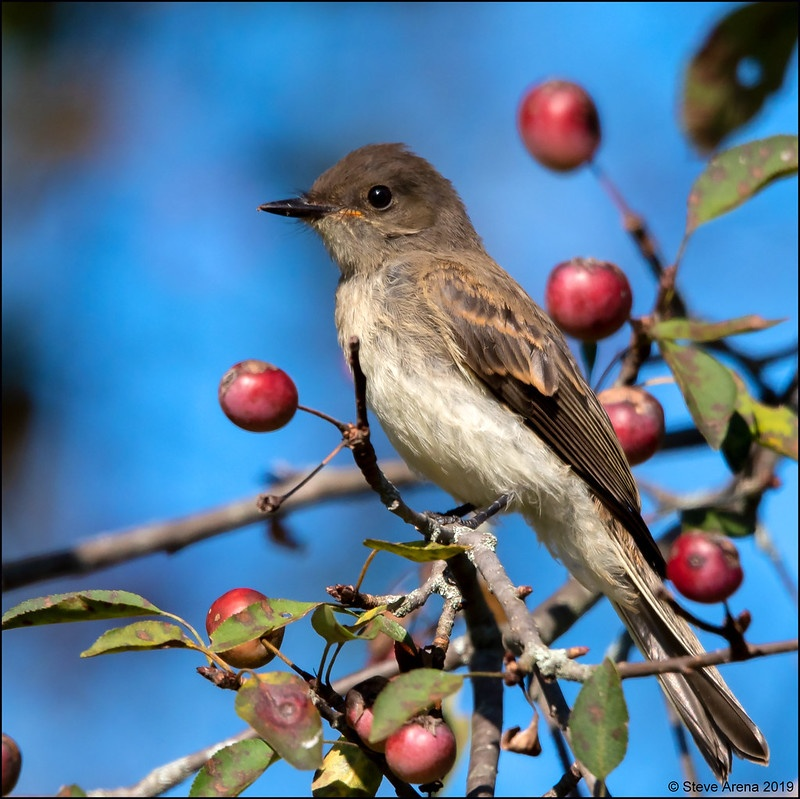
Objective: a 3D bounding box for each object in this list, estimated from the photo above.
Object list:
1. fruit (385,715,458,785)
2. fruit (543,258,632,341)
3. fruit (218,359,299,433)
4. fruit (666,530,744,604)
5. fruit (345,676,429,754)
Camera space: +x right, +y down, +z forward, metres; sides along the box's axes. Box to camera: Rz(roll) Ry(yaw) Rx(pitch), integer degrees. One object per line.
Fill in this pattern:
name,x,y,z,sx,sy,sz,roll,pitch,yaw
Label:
fruit,0.051,0.857,2.525,0.169,0.166,0.198,0,-94,6
fruit,0.713,-0.372,3.723,0.331,0.333,0.325,7,-91,9
fruit,-0.399,-0.011,2.778,0.240,0.181,0.187,-1,-65,-28
fruit,0.731,0.398,2.432,0.159,0.177,0.083,-27,-50,8
fruit,-0.061,0.793,2.577,0.171,0.174,0.140,-29,-25,24
